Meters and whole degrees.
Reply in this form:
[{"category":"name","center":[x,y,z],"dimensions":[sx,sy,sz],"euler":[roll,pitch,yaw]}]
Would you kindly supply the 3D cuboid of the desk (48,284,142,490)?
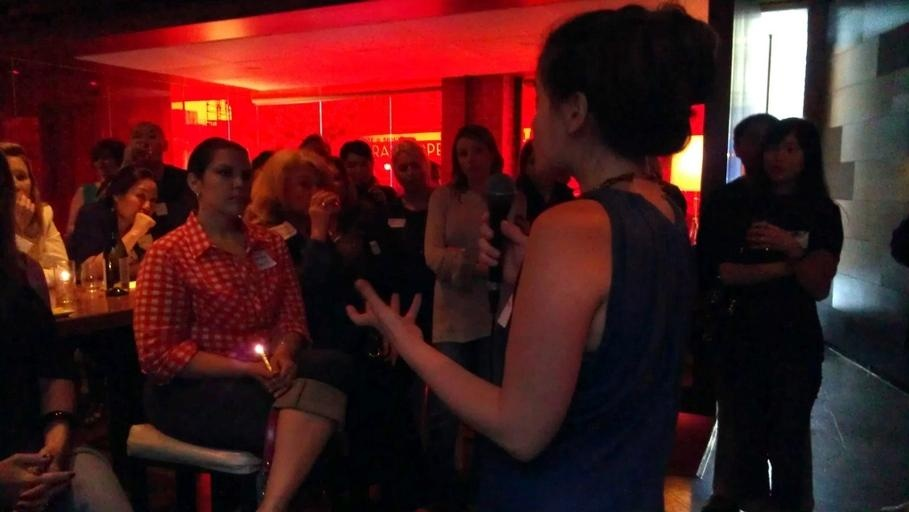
[{"category":"desk","center":[-2.587,0.970,4.994],"dimensions":[0.685,0.894,0.955],"euler":[-13,-7,-18]}]
